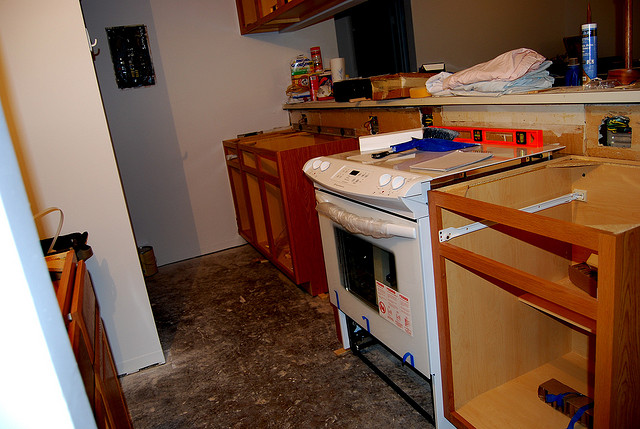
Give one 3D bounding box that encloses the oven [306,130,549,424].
[{"bbox_3d":[0.446,0.237,2.242,0.621,1.120,0.865,-16,21,-26],"label":"oven"}]
